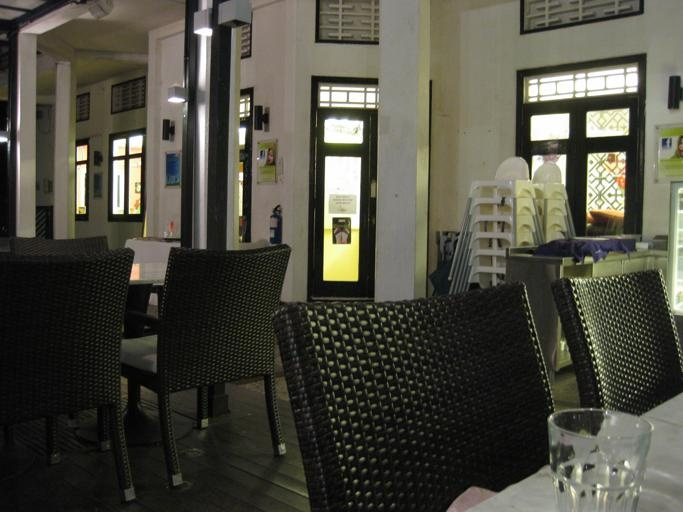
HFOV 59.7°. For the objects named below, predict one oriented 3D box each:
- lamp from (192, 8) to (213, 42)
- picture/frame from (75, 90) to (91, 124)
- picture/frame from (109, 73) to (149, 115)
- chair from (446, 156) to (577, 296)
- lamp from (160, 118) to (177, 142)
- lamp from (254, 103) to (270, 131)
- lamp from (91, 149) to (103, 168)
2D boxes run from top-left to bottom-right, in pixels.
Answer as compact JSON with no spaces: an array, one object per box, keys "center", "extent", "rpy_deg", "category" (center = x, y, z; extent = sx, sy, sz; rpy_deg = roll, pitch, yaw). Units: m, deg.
[{"center":[-0.886,-1.501,3.800],"extent":[0.214,0.178,0.064],"rpy_deg":[9,10,41],"category":"lamp"},{"center":[-5.343,-3.112,12.340],"extent":[0.119,0.563,0.487],"rpy_deg":[0,3,-44],"category":"picture/frame"},{"center":[-3.997,-3.027,11.140],"extent":[1.254,0.666,0.075],"rpy_deg":[10,10,39],"category":"picture/frame"},{"center":[1.381,-0.272,4.681],"extent":[0.616,1.359,1.307],"rpy_deg":[4,7,44],"category":"chair"},{"center":[-2.622,-1.923,9.034],"extent":[0.230,0.435,0.264],"rpy_deg":[1,1,29],"category":"lamp"},{"center":[-1.060,-1.843,7.921],"extent":[0.220,0.323,0.110],"rpy_deg":[5,7,20],"category":"lamp"},{"center":[-4.827,-1.950,11.798],"extent":[0.338,0.401,0.183],"rpy_deg":[4,5,41],"category":"lamp"}]
